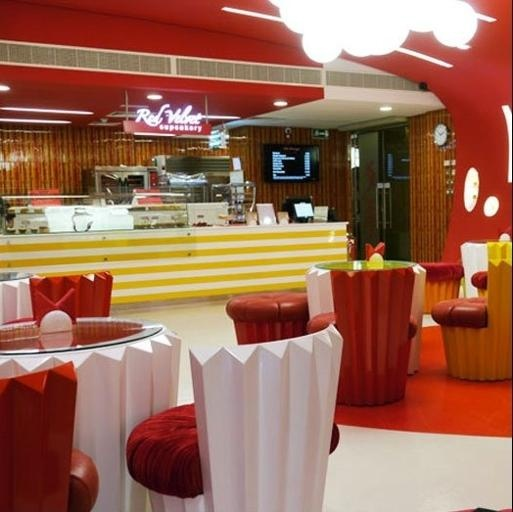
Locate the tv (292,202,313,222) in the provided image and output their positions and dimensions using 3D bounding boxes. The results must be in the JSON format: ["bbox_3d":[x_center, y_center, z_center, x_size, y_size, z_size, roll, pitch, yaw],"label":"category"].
[{"bbox_3d":[0.846,-0.824,8.689,0.343,0.387,0.186,1,-6,-28],"label":"tv"}]

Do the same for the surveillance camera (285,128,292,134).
[{"bbox_3d":[0.828,-3.191,11.901,0.242,0.200,0.118,-4,6,-36],"label":"surveillance camera"}]

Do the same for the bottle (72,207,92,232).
[{"bbox_3d":[-2.344,-0.494,6.269,0.263,0.397,0.272,1,1,0],"label":"bottle"}]

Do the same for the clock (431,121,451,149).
[{"bbox_3d":[3.807,-2.484,9.569,0.057,0.531,0.541,-2,5,-15],"label":"clock"}]
